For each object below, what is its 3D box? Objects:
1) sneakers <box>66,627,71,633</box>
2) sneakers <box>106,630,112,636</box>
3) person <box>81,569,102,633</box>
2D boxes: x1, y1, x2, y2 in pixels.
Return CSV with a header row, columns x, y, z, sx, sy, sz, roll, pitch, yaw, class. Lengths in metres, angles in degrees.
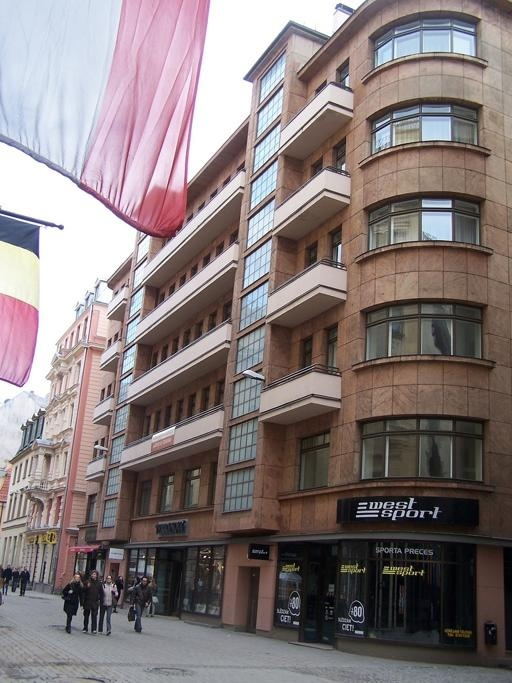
x,y,z,sx,sy,sz,roll,pitch,yaw,class
-5.520,8.482,16.871,0.161,0.154,0.096,-4,-7,34,sneakers
-4.565,9.056,17.812,0.113,0.139,0.323,6,-32,-20,sneakers
-5.169,8.166,18.015,0.595,1.757,1.007,8,-22,-12,person
